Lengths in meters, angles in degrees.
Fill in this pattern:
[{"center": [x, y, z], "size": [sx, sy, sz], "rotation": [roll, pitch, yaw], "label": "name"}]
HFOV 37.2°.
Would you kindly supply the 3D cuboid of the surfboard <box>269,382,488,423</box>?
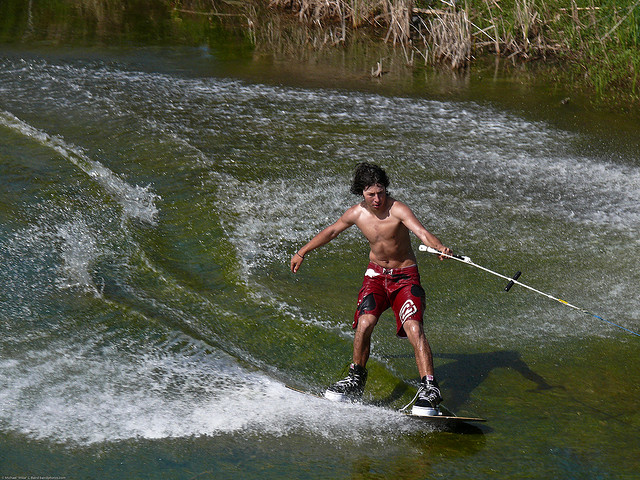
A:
[{"center": [0.586, 1.686, 9.801], "size": [1.895, 0.110, 0.245], "rotation": [7, -12, 13], "label": "surfboard"}]
